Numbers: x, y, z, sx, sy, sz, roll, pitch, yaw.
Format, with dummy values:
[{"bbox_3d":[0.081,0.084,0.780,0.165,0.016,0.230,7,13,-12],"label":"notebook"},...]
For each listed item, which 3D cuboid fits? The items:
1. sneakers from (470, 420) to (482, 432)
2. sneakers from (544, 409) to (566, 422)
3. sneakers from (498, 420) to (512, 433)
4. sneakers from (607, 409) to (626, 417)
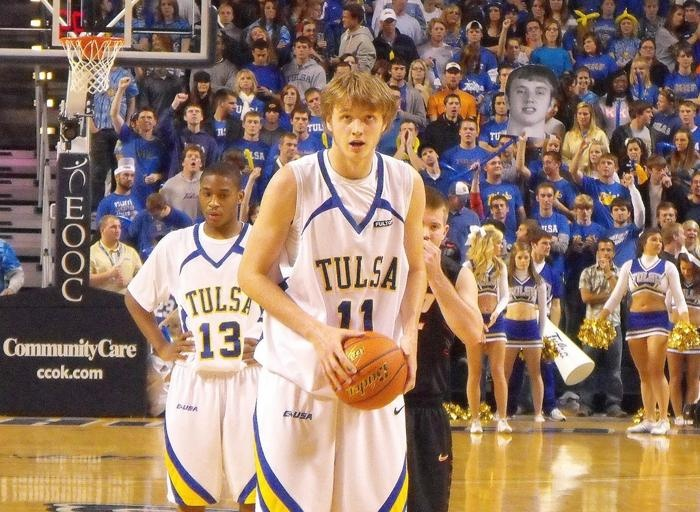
[{"bbox_3d":[1.406,1.906,13.196,0.136,0.147,0.276,0,-4,7],"label":"sneakers"},{"bbox_3d":[2.517,1.933,14.473,0.246,0.155,0.622,-1,-5,9],"label":"sneakers"},{"bbox_3d":[1.703,1.912,13.175,0.101,0.130,0.179,1,-20,-7],"label":"sneakers"},{"bbox_3d":[3.325,1.948,14.830,0.226,0.152,0.166,-1,-4,14],"label":"sneakers"}]
